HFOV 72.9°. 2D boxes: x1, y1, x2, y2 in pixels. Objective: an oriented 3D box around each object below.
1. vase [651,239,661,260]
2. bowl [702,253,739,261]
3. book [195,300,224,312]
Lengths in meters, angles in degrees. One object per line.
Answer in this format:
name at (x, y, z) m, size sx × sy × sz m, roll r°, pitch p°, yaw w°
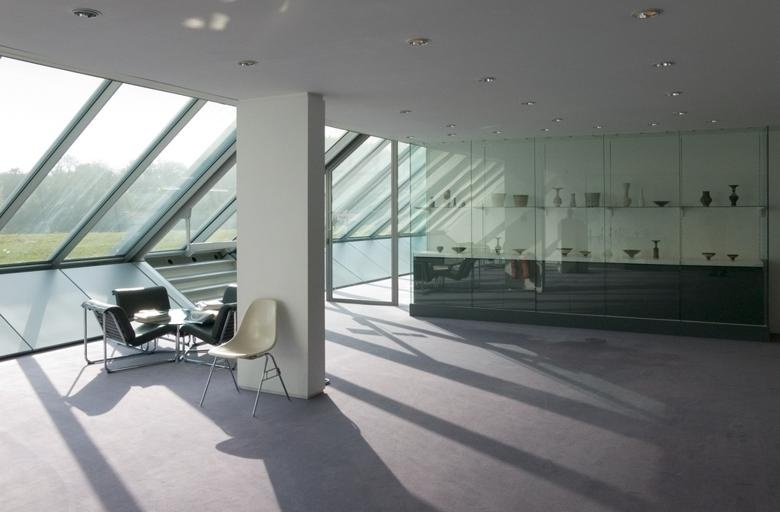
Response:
vase at (4.690, -0.123, 9.325) m, size 0.141 × 0.337 × 0.129 m, roll 4°, pitch 14°, yaw 18°
bowl at (5.622, 0.004, 8.981) m, size 0.504 × 0.102 × 0.181 m, roll 1°, pitch -2°, yaw 17°
book at (-2.965, 0.816, 8.615) m, size 0.312 × 0.084 × 0.312 m, roll 4°, pitch 3°, yaw 40°
